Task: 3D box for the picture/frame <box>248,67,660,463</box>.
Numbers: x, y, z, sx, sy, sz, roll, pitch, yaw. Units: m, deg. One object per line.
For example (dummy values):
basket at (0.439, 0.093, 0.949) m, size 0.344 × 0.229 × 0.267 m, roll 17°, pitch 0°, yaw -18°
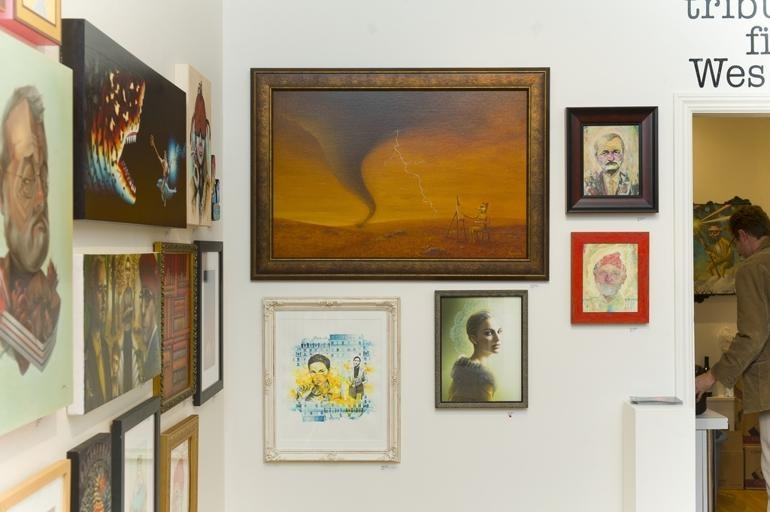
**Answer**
picture/frame at (0.320, -0.023, 3.304) m, size 1.547 × 1.933 × 0.075 m, roll 0°, pitch -4°, yaw -3°
